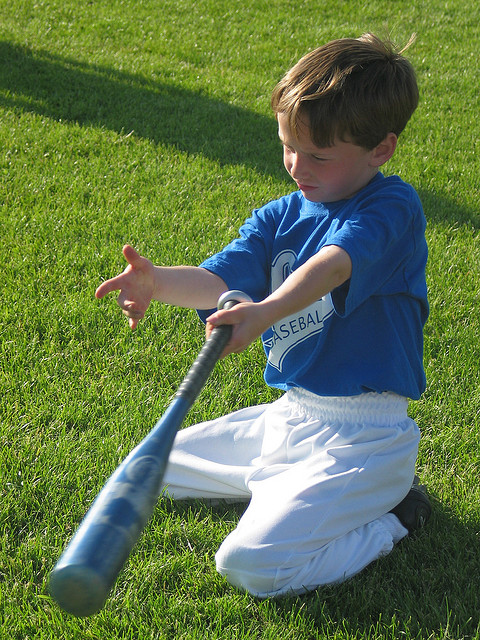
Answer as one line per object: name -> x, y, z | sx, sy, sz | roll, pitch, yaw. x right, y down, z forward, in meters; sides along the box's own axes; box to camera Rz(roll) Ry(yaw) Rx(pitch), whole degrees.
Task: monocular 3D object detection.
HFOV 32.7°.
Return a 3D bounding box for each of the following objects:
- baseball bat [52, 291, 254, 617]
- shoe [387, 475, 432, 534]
baseball bat -> -0.120, 0.216, 1.894 | 0.135, 0.133, 0.953 | 12, 45, 17
shoe -> 0.547, 0.587, 2.606 | 0.102, 0.075, 0.173 | 39, 50, -4
